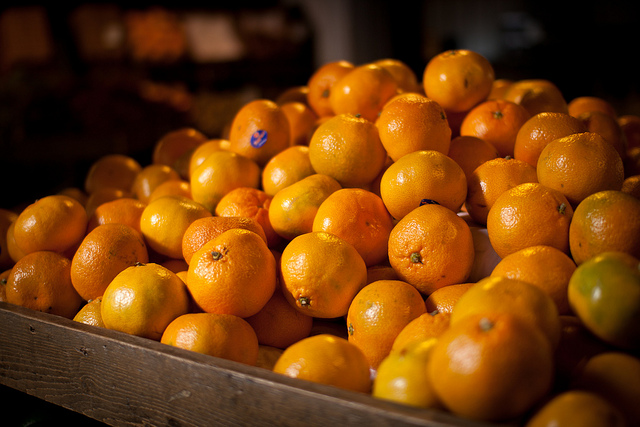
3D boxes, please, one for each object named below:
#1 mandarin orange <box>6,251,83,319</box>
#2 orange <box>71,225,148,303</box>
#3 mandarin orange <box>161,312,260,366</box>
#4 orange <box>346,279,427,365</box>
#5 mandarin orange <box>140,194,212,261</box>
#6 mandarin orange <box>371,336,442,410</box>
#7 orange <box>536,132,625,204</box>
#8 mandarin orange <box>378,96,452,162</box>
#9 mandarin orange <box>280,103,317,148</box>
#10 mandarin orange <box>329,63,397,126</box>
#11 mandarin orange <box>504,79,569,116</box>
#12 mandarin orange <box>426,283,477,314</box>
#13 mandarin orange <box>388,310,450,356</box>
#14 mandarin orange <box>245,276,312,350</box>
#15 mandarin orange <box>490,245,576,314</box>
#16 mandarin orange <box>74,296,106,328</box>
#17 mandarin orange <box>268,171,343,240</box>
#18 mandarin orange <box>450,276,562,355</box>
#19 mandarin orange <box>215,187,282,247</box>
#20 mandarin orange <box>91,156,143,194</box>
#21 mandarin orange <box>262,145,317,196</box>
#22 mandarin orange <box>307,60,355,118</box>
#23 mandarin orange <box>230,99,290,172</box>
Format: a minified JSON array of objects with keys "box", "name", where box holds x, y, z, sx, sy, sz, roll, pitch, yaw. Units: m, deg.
[{"box":[-0.820,0.223,1.750,0.207,0.217,0.199,1,-16,-18],"name":"mandarin orange"},{"box":[-0.631,0.136,1.716,0.236,0.183,0.163,-23,35,-27],"name":"orange"},{"box":[-0.279,0.325,1.509,0.166,0.129,0.164,6,-9,-12],"name":"mandarin orange"},{"box":[0.157,0.277,1.529,0.207,0.207,0.221,-7,55,-6],"name":"orange"},{"box":[-0.462,0.032,1.810,0.190,0.154,0.188,22,8,21],"name":"mandarin orange"},{"box":[0.193,0.400,1.381,0.149,0.179,0.150,10,47,-22],"name":"mandarin orange"},{"box":[0.719,-0.130,1.650,0.197,0.211,0.207,-17,43,3],"name":"orange"},{"box":[0.274,-0.275,1.824,0.202,0.205,0.197,-4,4,-34],"name":"mandarin orange"},{"box":[-0.072,-0.318,2.059,0.139,0.181,0.146,1,8,8],"name":"mandarin orange"},{"box":[0.158,-0.424,2.038,0.221,0.196,0.216,-1,-6,26],"name":"mandarin orange"},{"box":[0.764,-0.379,2.049,0.169,0.167,0.168,-3,15,-39],"name":"mandarin orange"},{"box":[0.343,0.229,1.608,0.117,0.065,0.117,18,6,18],"name":"mandarin orange"},{"box":[0.254,0.287,1.505,0.134,0.083,0.100,-35,-5,-6],"name":"mandarin orange"},{"box":[-0.116,0.315,1.722,0.192,0.199,0.199,3,16,4],"name":"mandarin orange"},{"box":[0.581,0.185,1.561,0.172,0.185,0.186,-5,-6,29],"name":"mandarin orange"},{"box":[-0.677,0.301,1.662,0.049,0.065,0.041,9,30,-14],"name":"mandarin orange"},{"box":[-0.065,-0.004,1.814,0.219,0.180,0.169,4,-22,-24],"name":"mandarin orange"},{"box":[0.436,0.281,1.360,0.192,0.212,0.211,-8,-30,29],"name":"mandarin orange"},{"box":[-0.227,-0.021,1.881,0.184,0.191,0.181,20,-25,-20],"name":"mandarin orange"},{"box":[-0.802,-0.159,2.291,0.146,0.184,0.147,2,6,6],"name":"mandarin orange"},{"box":[-0.093,-0.172,1.933,0.147,0.108,0.198,2,19,27],"name":"mandarin orange"},{"box":[0.001,-0.454,2.175,0.194,0.206,0.236,-6,-6,-16],"name":"mandarin orange"},{"box":[-0.209,-0.292,1.994,0.185,0.233,0.177,-23,21,-33],"name":"mandarin orange"}]
